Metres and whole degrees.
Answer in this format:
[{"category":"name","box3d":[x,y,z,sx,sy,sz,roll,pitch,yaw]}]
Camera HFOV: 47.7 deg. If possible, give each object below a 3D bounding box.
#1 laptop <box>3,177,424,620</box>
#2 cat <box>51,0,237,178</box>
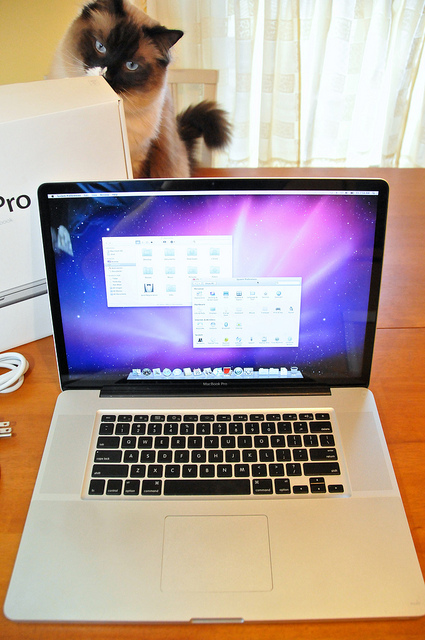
[{"category":"laptop","box3d":[0.006,0.116,0.604,0.417,0.284,0.421,0,50,1]},{"category":"cat","box3d":[-0.152,-0.537,1.100,0.300,0.310,0.419,-23,42,-33]}]
